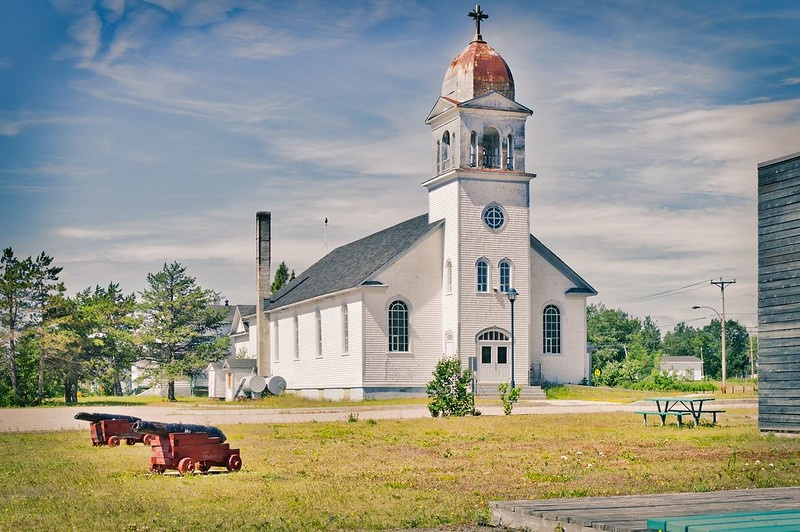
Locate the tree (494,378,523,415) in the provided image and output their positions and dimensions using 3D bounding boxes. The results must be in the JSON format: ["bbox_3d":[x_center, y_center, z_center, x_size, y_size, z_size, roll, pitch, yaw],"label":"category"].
[{"bbox_3d":[5.305,6.481,62.815,1.822,1.762,1.268,1,2,36],"label":"tree"}]

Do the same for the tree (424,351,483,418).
[{"bbox_3d":[2.286,5.347,56.512,2.057,2.721,2.342,0,-9,-6],"label":"tree"}]

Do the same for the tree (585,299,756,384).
[{"bbox_3d":[33.951,10.825,161.166,14.957,7.933,14.365,2,-7,-26],"label":"tree"}]

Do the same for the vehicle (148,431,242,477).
[{"bbox_3d":[-6.367,5.890,39.795,2.493,0.938,1.306,3,-8,-12],"label":"vehicle"}]

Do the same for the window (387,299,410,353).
[{"bbox_3d":[-0.106,3.275,69.726,1.154,2.912,0.271,3,-10,-24],"label":"window"}]

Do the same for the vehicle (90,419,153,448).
[{"bbox_3d":[-10.436,6.124,46.592,3.172,1.083,1.474,6,-9,-19],"label":"vehicle"}]
